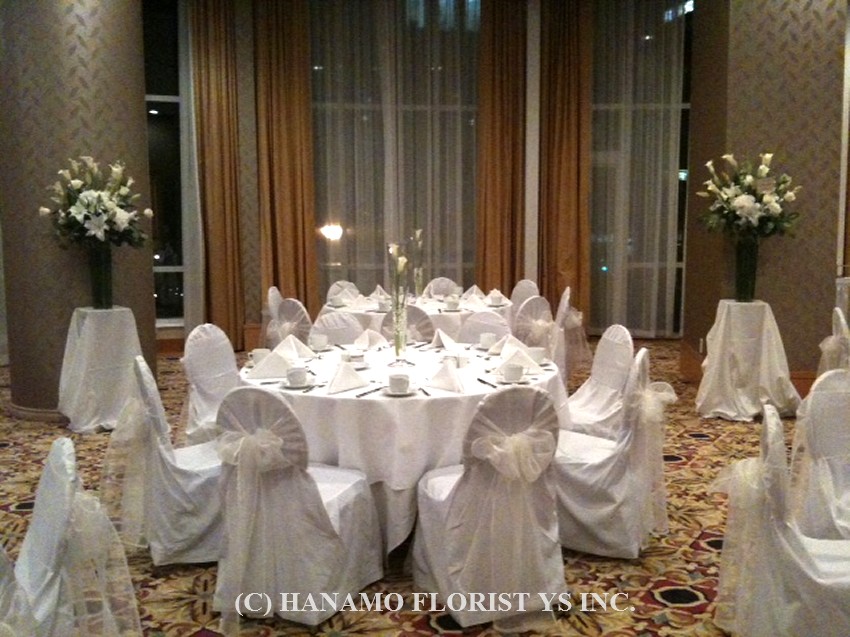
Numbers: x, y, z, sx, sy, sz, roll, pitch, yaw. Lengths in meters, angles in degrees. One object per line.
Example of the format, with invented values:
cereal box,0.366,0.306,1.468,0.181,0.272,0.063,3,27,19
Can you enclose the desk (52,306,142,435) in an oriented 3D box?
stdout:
desk,-2.746,0.408,6.018,0.760,0.968,0.793,3,-4,-37

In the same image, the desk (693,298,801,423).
desk,2.863,0.366,6.040,0.954,1.225,0.943,0,-1,3

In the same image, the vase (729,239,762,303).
vase,2.833,-0.444,6.123,0.194,0.569,0.121,4,12,20
